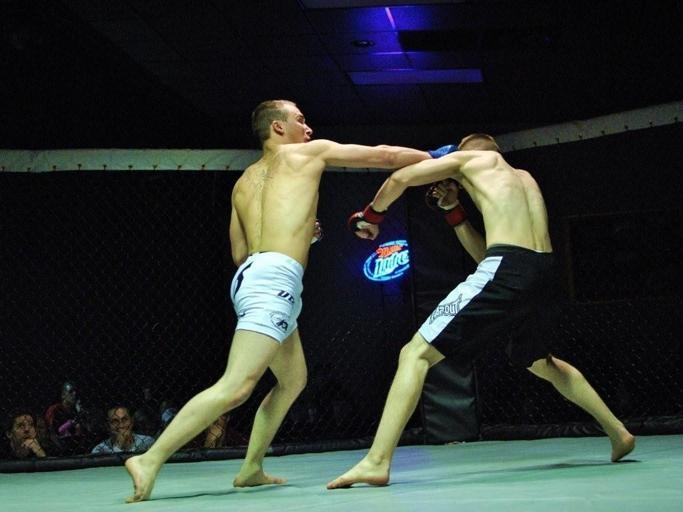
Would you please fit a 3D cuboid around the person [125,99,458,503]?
[{"bbox_3d":[-0.273,0.131,2.460,1.097,1.670,1.425,1,4,42],"label":"person"}]
